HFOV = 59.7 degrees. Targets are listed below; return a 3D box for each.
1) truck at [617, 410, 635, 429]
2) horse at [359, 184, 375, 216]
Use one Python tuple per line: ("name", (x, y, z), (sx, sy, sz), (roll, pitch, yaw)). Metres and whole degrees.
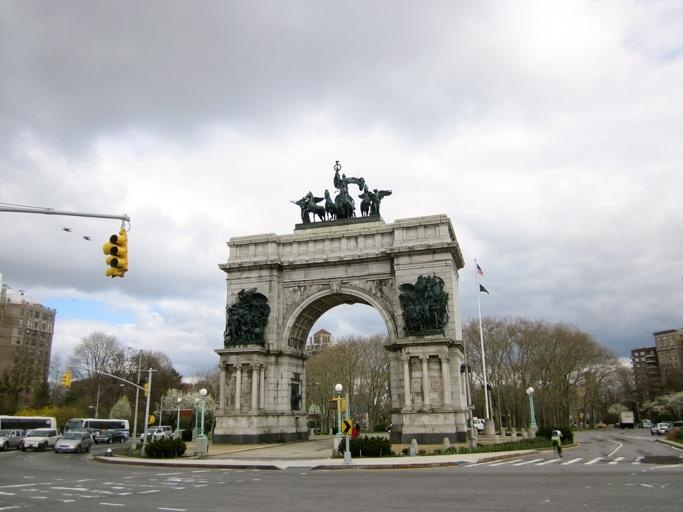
("truck", (47.756, 27.471, 100.370), (2.565, 2.701, 4.350), (-1, -5, 15))
("horse", (2.230, -4.745, 51.075), (1.051, 2.773, 1.319), (-3, -18, 5))
